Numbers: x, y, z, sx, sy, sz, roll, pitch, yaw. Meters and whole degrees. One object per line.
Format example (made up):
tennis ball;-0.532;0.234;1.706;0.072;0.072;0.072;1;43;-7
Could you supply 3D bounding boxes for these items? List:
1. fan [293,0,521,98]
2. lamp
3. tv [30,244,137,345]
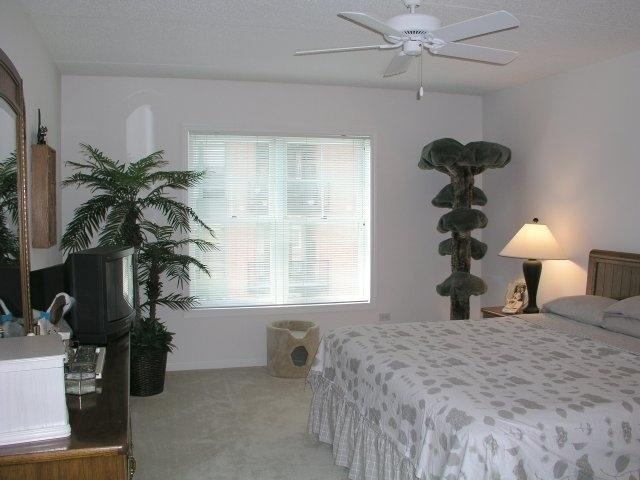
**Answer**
fan;0.636;-1.502;3.915;0.839;0.426;0.869;-2;3;-24
lamp;1.993;0.215;5.250;0.835;1.140;0.845;0;1;12
tv;-1.580;0.358;3.617;0.635;0.596;0.674;0;5;-3
